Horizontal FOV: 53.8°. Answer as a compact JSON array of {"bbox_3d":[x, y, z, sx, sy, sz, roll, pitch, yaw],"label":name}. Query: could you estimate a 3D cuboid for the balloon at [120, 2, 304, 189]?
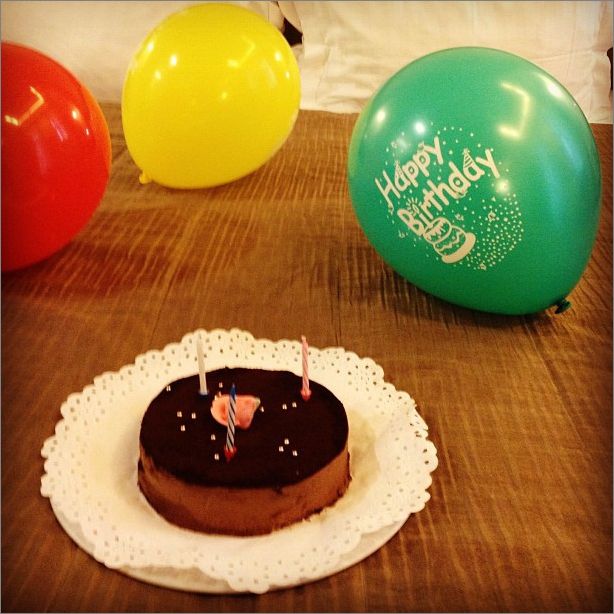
[{"bbox_3d":[-0.273,-0.617,1.777,0.485,0.429,0.421,-31,42,-8],"label":"balloon"}]
